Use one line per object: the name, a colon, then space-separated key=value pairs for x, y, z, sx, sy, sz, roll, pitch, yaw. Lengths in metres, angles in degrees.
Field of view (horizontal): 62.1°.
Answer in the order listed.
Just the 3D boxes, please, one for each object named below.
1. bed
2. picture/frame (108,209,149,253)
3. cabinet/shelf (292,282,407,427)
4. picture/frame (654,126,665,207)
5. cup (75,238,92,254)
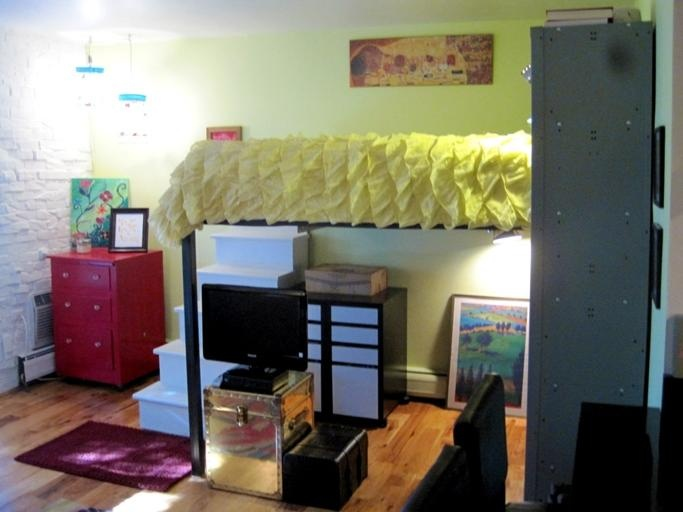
bed: x=0.015 y=0.056 z=3.046 sx=1.256 sy=1.124 sz=0.859 roll=1 pitch=5 yaw=15
picture/frame: x=-1.853 y=-0.214 z=4.897 sx=0.367 sy=0.463 sz=0.035 roll=0 pitch=-10 yaw=-8
cabinet/shelf: x=0.139 y=0.660 z=4.447 sx=0.913 sy=1.199 sz=0.835 roll=1 pitch=4 yaw=21
picture/frame: x=1.228 y=-0.349 z=2.191 sx=0.031 sy=0.305 sz=0.311 roll=-1 pitch=5 yaw=22
cup: x=-2.213 y=-0.087 z=4.878 sx=0.119 sy=0.118 sz=0.121 roll=0 pitch=4 yaw=0
